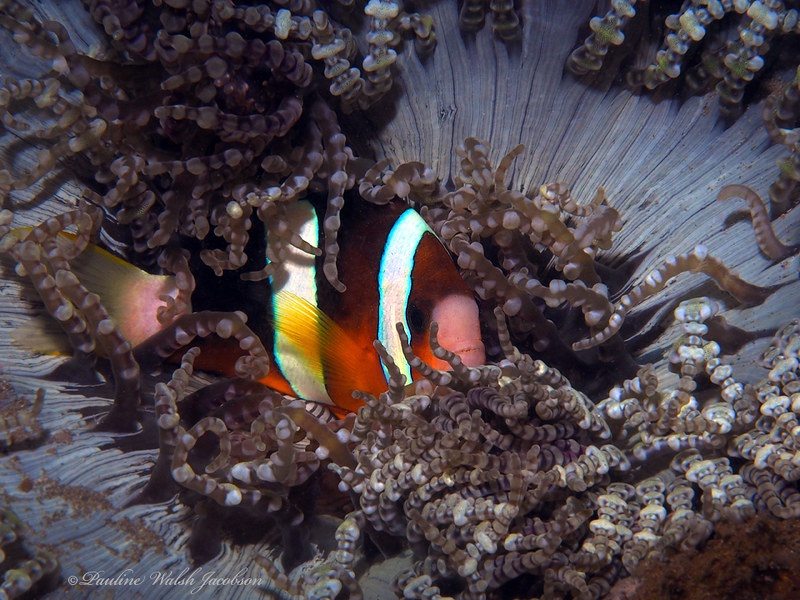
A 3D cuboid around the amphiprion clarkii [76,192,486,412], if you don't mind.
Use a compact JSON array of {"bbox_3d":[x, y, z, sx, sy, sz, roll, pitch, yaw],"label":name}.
[{"bbox_3d":[-0.352,0.045,2.865,1.170,0.356,0.640,-10,71,-1],"label":"amphiprion clarkii"}]
